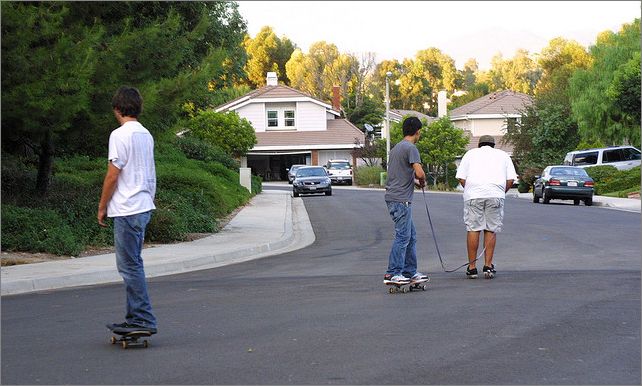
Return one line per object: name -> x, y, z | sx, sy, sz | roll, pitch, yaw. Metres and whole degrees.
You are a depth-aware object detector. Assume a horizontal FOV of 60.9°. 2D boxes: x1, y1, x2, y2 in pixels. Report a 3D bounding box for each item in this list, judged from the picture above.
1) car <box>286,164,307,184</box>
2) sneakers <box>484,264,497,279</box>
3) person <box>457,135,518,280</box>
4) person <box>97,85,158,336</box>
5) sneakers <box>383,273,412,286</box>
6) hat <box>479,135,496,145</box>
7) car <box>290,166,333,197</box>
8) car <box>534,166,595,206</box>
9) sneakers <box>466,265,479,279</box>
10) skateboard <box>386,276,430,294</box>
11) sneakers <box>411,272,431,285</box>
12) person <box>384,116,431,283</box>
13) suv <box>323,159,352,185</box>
car -> -2.521, -1.874, 51.260 | 1.436, 1.142, 3.095 | -1, -1, -4
sneakers -> 3.361, 1.571, 10.966 | 0.217, 0.277, 0.262 | -1, 4, 16
person -> 3.388, 0.264, 11.280 | 1.120, 2.886, 1.058 | -1, 4, 18
person -> -2.695, 0.259, 7.712 | 0.762, 3.525, 0.543 | -3, 4, -18
sneakers -> 1.369, 1.571, 9.890 | 0.495, 0.226, 0.183 | 0, -1, -3
hat -> 3.419, -1.080, 11.401 | 0.228, 0.177, 0.310 | 3, 4, 5
car -> -0.618, -0.747, 36.265 | 2.008, 1.935, 2.491 | 1, 5, 43
car -> 11.907, -0.478, 27.116 | 1.516, 1.049, 3.210 | 0, 5, 1
sneakers -> 3.055, 1.579, 11.093 | 0.220, 0.274, 0.313 | -1, 4, 16
skateboard -> 1.623, 1.740, 10.145 | 0.324, 0.211, 0.744 | -4, -6, 35
sneakers -> 1.853, 1.601, 10.089 | 0.394, 0.184, 0.160 | -4, 0, 15
person -> 1.533, 0.141, 10.021 | 0.748, 3.091, 0.635 | -1, 4, 11
suv -> 1.622, -1.843, 50.577 | 2.270, 1.886, 4.278 | 0, 9, -1
